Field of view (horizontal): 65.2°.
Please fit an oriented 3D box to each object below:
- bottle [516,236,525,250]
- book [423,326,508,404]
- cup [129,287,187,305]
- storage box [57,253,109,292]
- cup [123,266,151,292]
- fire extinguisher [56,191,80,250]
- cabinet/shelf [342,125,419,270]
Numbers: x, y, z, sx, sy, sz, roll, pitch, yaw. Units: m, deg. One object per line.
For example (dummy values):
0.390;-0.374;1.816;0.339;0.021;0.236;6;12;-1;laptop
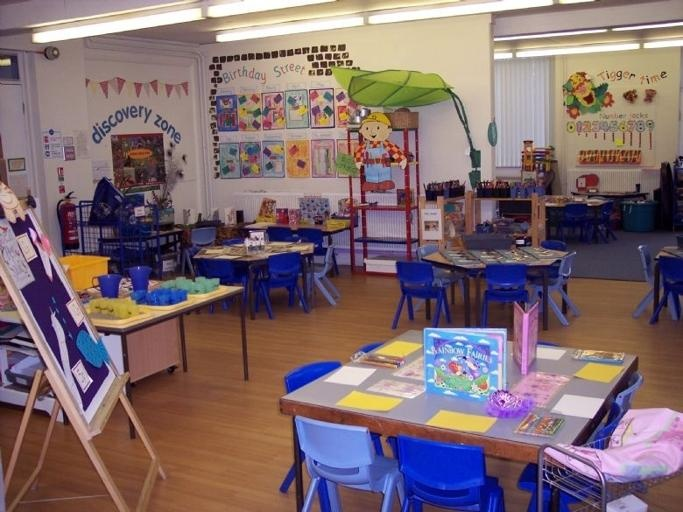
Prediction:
2.777;-0.202;8.327;0.167;0.204;0.174;5;14;17;bottle
0.765;0.679;3.283;0.394;0.363;0.172;3;8;30;book
-1.796;0.396;5.215;0.530;0.137;0.225;0;12;2;cup
-2.897;0.161;5.951;0.434;0.312;0.659;1;5;26;storage box
-2.064;0.213;5.397;0.284;0.309;0.220;0;0;0;cup
-4.877;-0.601;9.623;0.340;1.059;0.379;8;14;35;fire extinguisher
0.785;-1.065;10.498;1.509;2.796;1.320;3;12;14;cabinet/shelf
